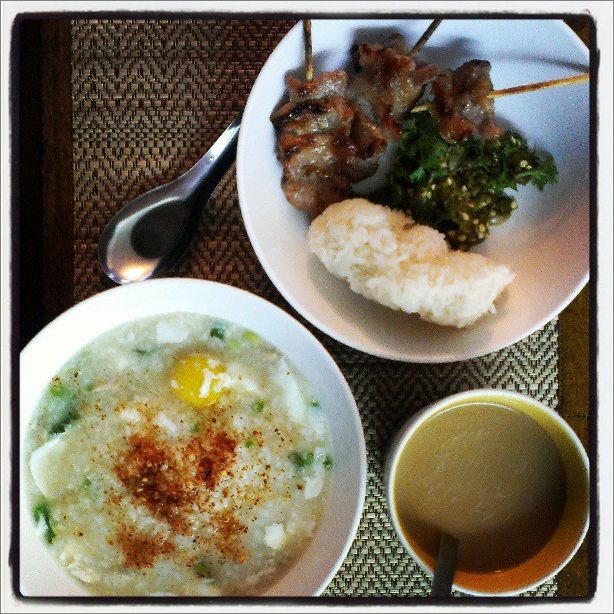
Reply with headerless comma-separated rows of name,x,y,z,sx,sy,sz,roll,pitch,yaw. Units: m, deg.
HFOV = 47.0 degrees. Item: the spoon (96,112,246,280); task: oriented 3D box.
spoon,-0.373,-0.282,2.037,0.539,0.217,0.199,-32,71,-16
